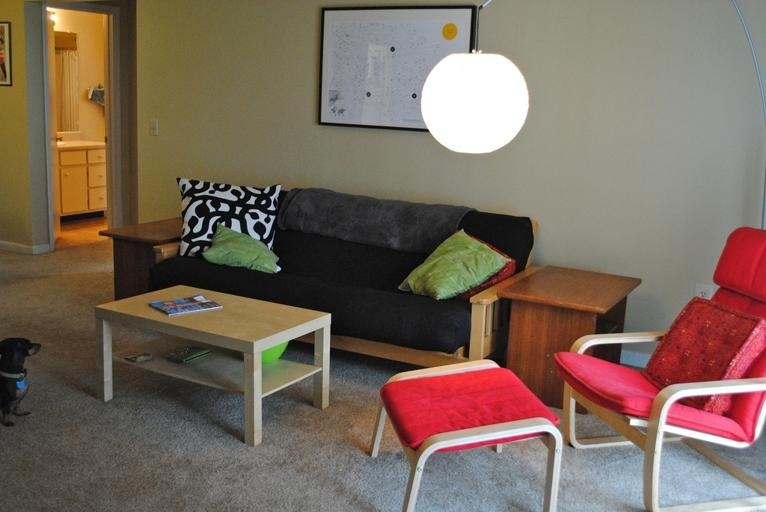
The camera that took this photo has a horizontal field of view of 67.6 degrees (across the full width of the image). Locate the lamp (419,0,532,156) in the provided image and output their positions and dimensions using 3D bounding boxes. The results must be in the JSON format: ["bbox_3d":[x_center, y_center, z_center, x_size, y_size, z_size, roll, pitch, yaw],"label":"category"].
[{"bbox_3d":[0.504,-0.719,2.625,0.451,0.622,0.457,4,4,28],"label":"lamp"}]

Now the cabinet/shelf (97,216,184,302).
[{"bbox_3d":[-1.773,-0.068,4.555,0.569,0.676,0.734,1,12,4],"label":"cabinet/shelf"}]

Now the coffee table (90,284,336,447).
[{"bbox_3d":[-0.952,0.578,3.345,1.275,0.580,0.659,10,18,18],"label":"coffee table"}]

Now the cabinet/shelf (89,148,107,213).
[{"bbox_3d":[-3.748,-0.995,7.508,0.101,0.812,0.284,10,19,18],"label":"cabinet/shelf"}]
